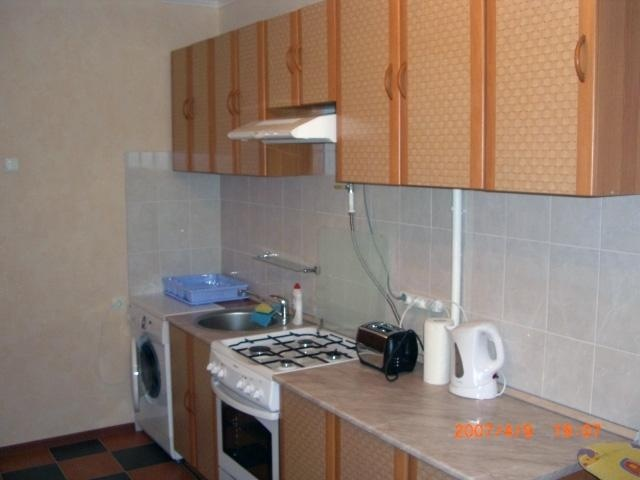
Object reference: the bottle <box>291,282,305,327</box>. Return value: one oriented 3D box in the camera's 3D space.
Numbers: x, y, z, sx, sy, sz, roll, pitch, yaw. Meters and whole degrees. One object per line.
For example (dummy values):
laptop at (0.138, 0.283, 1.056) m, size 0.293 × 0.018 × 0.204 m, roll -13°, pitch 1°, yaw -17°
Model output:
bottle at (-0.143, 0.377, 3.496) m, size 0.075 × 0.252 × 0.242 m, roll -1°, pitch 9°, yaw -3°

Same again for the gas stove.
gas stove at (-0.219, 0.568, 3.009) m, size 0.669 × 0.295 × 0.741 m, roll -5°, pitch 10°, yaw -30°

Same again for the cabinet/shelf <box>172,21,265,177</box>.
cabinet/shelf at (-0.649, -0.871, 3.519) m, size 0.326 × 0.971 × 0.728 m, roll -8°, pitch 14°, yaw -32°

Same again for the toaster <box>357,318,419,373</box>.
toaster at (0.330, 0.517, 2.691) m, size 0.210 × 0.197 × 0.263 m, roll -7°, pitch 11°, yaw -31°
